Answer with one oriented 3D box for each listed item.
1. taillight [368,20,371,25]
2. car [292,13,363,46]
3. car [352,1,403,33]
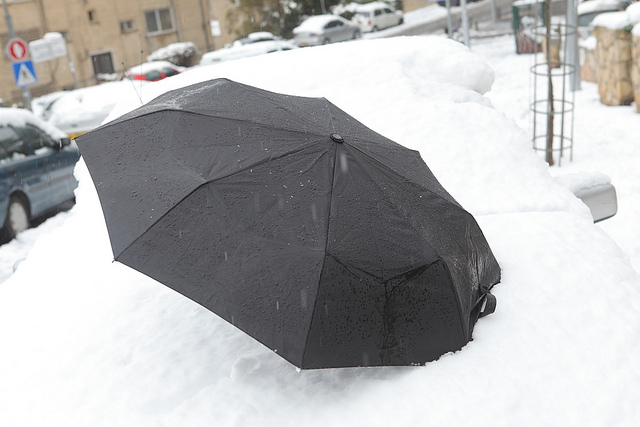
[{"bbox_3d":[2.462,-9.559,28.810,0.135,0.176,0.033,-11,20,-4],"label":"taillight"},{"bbox_3d":[0.287,-8.495,26.726,2.902,1.235,1.759,-12,22,-4],"label":"car"},{"bbox_3d":[3.057,-10.186,29.365,2.354,1.064,1.448,-27,43,-27],"label":"car"}]
